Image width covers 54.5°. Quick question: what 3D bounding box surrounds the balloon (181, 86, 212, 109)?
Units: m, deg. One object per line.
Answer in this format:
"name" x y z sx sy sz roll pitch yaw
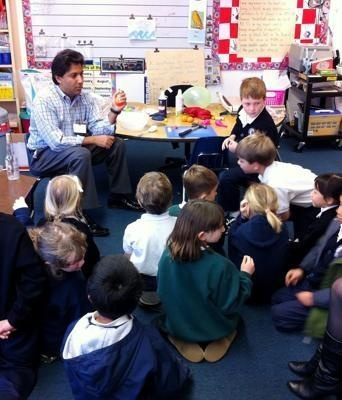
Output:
"balloon" 0.253 -1.090 3.511 0.231 0.179 0.254 9 19 22

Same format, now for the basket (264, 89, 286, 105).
"basket" 1.328 -1.320 4.256 0.240 0.225 0.061 -2 11 -15

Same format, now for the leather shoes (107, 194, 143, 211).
"leather shoes" -0.456 0.017 3.227 0.374 0.153 0.126 4 14 7

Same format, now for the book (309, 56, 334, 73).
"book" 1.931 -1.729 4.239 0.194 0.242 0.073 12 8 8

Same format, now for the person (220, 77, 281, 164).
"person" 0.690 -0.671 2.983 0.527 0.827 0.539 -10 39 -8

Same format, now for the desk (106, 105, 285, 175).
"desk" 0.210 -0.574 3.042 0.856 0.373 0.829 -1 22 -1

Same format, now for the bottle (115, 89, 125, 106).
"bottle" -0.442 -0.889 2.885 0.093 0.129 0.097 0 21 0

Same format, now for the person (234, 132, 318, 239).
"person" 0.778 0.102 2.440 0.569 1.119 0.460 -1 27 13
